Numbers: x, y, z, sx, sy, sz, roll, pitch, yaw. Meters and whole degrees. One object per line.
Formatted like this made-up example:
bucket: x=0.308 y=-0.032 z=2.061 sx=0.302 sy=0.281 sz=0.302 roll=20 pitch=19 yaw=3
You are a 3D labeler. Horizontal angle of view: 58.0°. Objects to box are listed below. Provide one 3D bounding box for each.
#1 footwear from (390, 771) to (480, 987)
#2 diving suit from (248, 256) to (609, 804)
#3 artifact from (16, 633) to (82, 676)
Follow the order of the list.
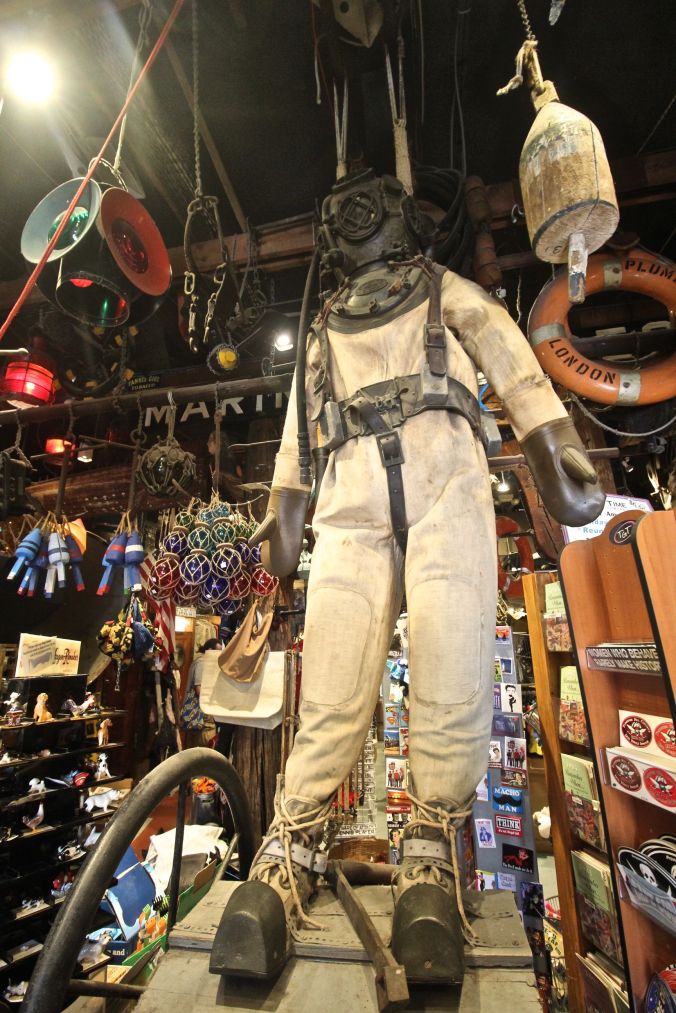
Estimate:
footwear: x=0.146 y=0.585 z=1.002 sx=0.088 sy=0.269 sz=0.270 roll=6 pitch=-9 yaw=7
diving suit: x=0.141 y=-0.017 z=1.374 sx=0.823 sy=1.236 sz=0.338 roll=-7 pitch=-20 yaw=25
artifact: x=-1.486 y=0.785 z=3.166 sx=0.097 sy=0.221 sz=0.573 roll=-2 pitch=-19 yaw=12
